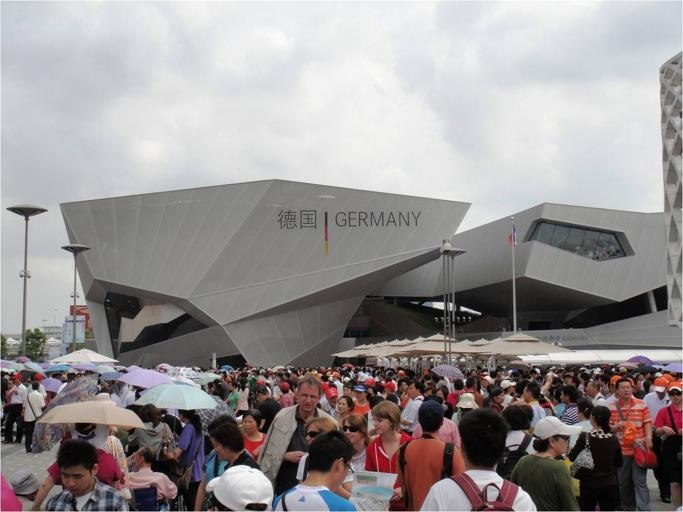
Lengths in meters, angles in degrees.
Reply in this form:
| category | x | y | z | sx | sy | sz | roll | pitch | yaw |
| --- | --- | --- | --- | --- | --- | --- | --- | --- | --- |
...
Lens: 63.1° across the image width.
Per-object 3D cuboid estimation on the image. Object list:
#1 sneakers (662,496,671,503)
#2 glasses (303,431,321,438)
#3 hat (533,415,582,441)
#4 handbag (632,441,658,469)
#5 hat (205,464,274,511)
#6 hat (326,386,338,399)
| category | x | y | z | sx | sy | sz | roll | pitch | yaw |
| --- | --- | --- | --- | --- | --- | --- | --- | --- | --- |
| sneakers | 5.397 | 4.034 | 9.244 | 0.061 | 0.077 | 0.181 | 1 | 3 | -1 |
| glasses | -0.272 | 1.676 | 5.240 | 0.187 | 0.071 | 0.189 | 7 | -14 | -19 |
| hat | 1.987 | 1.563 | 5.121 | 0.339 | 0.164 | 0.236 | -7 | 0 | -7 |
| handbag | 4.457 | 2.932 | 8.198 | 0.372 | 0.463 | 0.170 | 16 | -36 | -34 |
| hat | -0.688 | 1.530 | 3.747 | 0.250 | 0.211 | 0.349 | 3 | -1 | -37 |
| hat | -0.154 | 2.271 | 9.257 | 0.224 | 0.198 | 0.400 | 9 | -5 | 3 |
